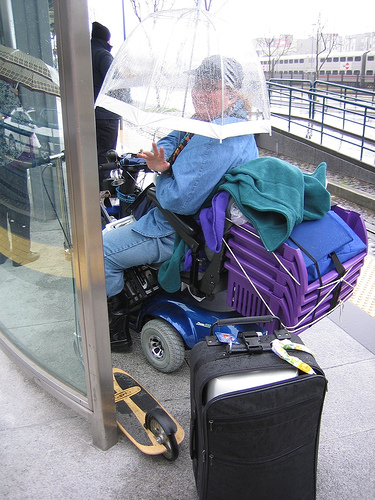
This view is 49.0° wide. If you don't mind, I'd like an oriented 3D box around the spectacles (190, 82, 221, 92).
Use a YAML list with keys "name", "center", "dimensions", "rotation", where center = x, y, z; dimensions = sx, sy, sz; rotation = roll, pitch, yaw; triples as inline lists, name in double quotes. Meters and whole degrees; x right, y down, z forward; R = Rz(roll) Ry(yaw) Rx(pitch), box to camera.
- name: "spectacles"
  center: [0.068, -0.764, 1.928]
  dimensions: [0.131, 0.043, 0.031]
  rotation: [12, 23, 27]

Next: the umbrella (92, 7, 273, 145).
- name: "umbrella"
  center: [-0.002, -0.921, 2.133]
  dimensions: [0.843, 0.622, 0.559]
  rotation: [20, 27, 40]

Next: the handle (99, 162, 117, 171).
- name: "handle"
  center: [-0.581, -0.620, 3.028]
  dimensions: [0.049, 0.052, 0.179]
  rotation: [8, 12, 30]

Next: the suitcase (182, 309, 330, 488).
- name: "suitcase"
  center: [0.230, 0.612, 1.545]
  dimensions: [0.513, 0.657, 0.411]
  rotation: [-2, 18, -4]
